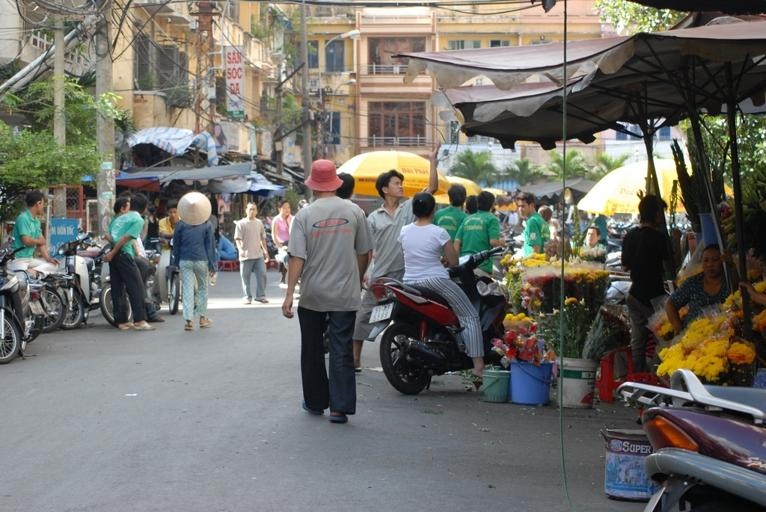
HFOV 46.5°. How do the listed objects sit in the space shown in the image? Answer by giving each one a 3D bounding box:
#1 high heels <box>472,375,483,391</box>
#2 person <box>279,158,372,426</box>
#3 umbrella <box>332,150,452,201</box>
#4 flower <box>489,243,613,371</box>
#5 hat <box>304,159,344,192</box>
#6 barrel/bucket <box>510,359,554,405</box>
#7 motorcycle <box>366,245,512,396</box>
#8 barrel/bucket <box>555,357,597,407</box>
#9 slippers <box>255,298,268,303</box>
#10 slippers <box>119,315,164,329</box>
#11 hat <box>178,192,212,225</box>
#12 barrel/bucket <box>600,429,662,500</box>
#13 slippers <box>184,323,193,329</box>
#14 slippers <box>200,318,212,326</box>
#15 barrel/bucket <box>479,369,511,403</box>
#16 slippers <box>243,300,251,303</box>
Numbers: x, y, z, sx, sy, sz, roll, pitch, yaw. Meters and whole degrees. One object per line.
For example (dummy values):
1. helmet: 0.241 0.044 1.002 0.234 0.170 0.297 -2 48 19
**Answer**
1. high heels: 1.154 1.515 10.655 0.128 0.155 0.237 13 -2 0
2. person: -0.574 0.341 9.374 0.834 2.671 0.810 1 7 4
3. umbrella: 0.219 -1.732 17.597 1.548 0.579 1.498 0 -3 -12
4. flower: 1.963 0.604 10.212 1.212 1.289 1.146 0 -4 0
5. hat: -0.641 -0.938 9.601 0.306 0.198 0.363 -3 41 -9
6. barrel/bucket: 1.745 1.443 10.309 0.542 0.489 0.562 2 -2 0
7. motorcycle: 0.868 0.765 10.939 2.489 1.626 1.313 0 -5 -43
8. barrel/bucket: 2.224 1.424 10.159 0.689 0.557 0.701 3 -4 0
9. slippers: -2.583 0.949 19.072 0.282 0.123 0.105 5 9 30
10. slippers: -4.140 1.112 15.062 0.631 0.242 0.236 -2 -1 23
11. hat: -3.113 -0.779 14.738 0.514 0.540 0.345 -1 7 -16
12. barrel/bucket: 2.110 1.750 7.489 0.480 0.534 0.501 2 -11 0
13. slippers: -3.199 1.151 14.691 0.136 0.126 0.238 0 7 -11
14. slippers: -2.980 1.112 15.100 0.210 0.148 0.095 -6 17 -3
15. barrel/bucket: 1.304 1.491 10.349 0.395 0.351 0.367 1 0 0
16. slippers: -2.836 0.950 18.785 0.117 0.080 0.042 5 12 21
